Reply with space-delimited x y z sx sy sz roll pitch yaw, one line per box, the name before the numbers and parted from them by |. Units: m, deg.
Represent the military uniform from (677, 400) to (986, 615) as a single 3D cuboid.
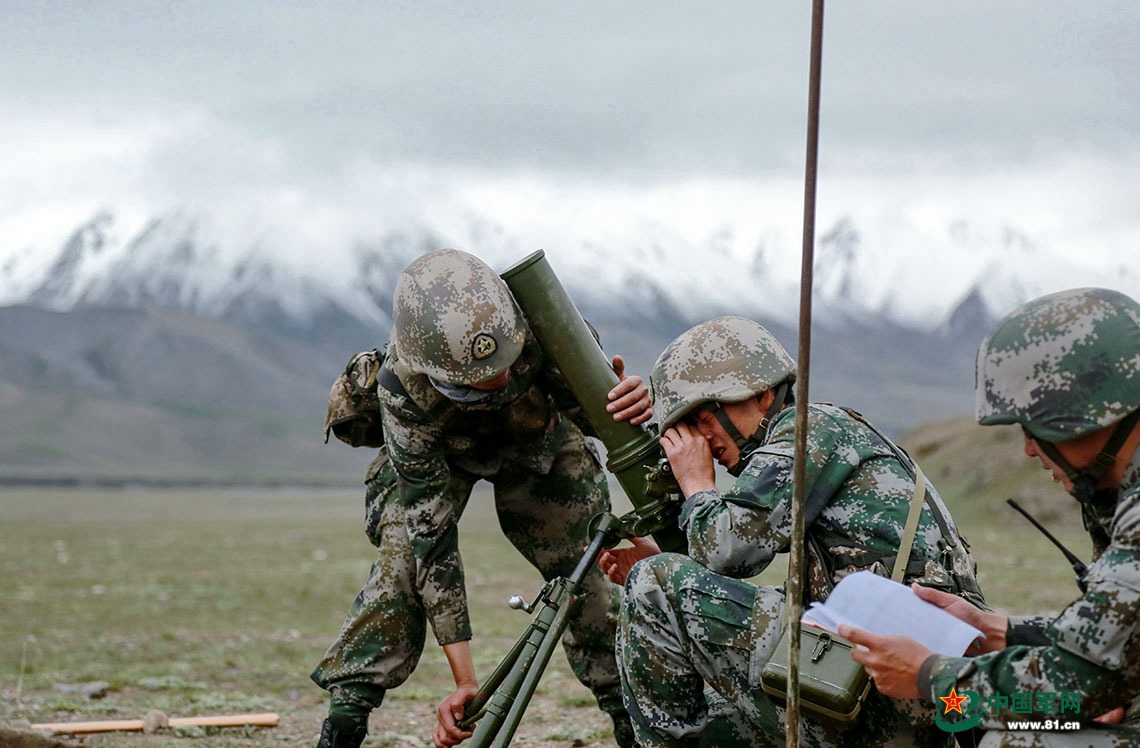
military uniform | 1.339 0.803 9.758 1.686 1.241 1.252 3 -4 9
